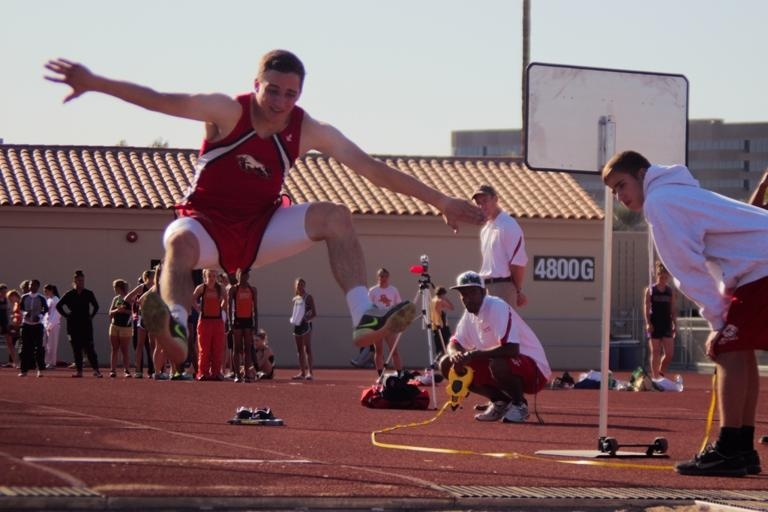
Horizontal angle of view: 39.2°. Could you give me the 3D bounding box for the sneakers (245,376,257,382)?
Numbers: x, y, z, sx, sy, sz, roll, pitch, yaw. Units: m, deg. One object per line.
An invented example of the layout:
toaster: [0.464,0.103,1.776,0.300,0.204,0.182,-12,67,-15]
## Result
sneakers: [-2.267,2.076,18.243,0.145,0.063,0.187,3,-1,-5]

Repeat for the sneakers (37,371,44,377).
sneakers: [-6.038,2.065,18.946,0.090,0.081,0.159,8,10,12]

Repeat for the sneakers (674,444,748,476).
sneakers: [2.838,1.767,9.359,0.665,0.254,0.226,3,-6,2]

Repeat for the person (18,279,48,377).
person: [-6.338,1.268,19.473,0.469,1.696,1.248,-1,-3,-17]

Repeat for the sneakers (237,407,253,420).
sneakers: [-1.509,1.701,11.721,0.112,0.121,0.160,4,0,-16]

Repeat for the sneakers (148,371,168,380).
sneakers: [-3.845,2.023,18.304,0.385,0.136,0.135,0,3,9]

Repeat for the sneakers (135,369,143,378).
sneakers: [-4.323,2.071,18.973,0.107,0.110,0.271,1,3,-3]

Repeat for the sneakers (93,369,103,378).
sneakers: [-5.044,2.070,19.078,0.161,0.170,0.460,1,-7,-21]

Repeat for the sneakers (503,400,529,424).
sneakers: [1.473,1.750,12.129,0.287,0.223,0.259,-2,-3,4]

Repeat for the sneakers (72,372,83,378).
sneakers: [-5.379,2.082,18.928,0.117,0.134,0.358,2,2,-29]

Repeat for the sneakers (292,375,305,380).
sneakers: [-1.562,2.193,19.554,0.279,0.100,0.095,3,-5,30]
